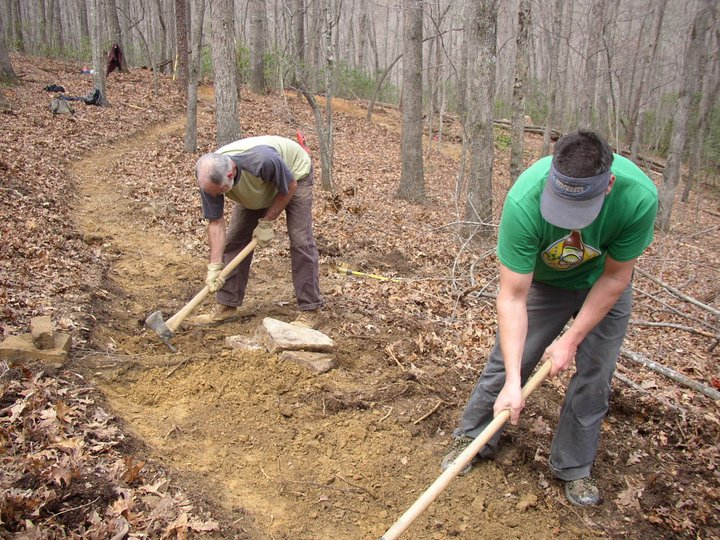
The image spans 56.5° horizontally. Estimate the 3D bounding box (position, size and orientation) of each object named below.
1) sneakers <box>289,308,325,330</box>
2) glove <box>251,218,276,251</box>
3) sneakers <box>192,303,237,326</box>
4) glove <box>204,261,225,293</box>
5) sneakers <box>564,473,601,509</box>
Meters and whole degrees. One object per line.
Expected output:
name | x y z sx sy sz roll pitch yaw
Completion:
sneakers | -0.624 0.585 8.016 0.194 0.166 0.346 11 -3 35
glove | -1.136 -0.471 7.842 0.245 0.307 0.226 -2 22 -15
sneakers | -1.726 0.535 8.042 0.613 0.291 0.215 0 2 -16
glove | -1.666 0.079 7.630 0.117 0.331 0.208 2 -18 8
sneakers | 2.116 2.116 6.353 0.194 0.145 0.336 -17 18 -26
